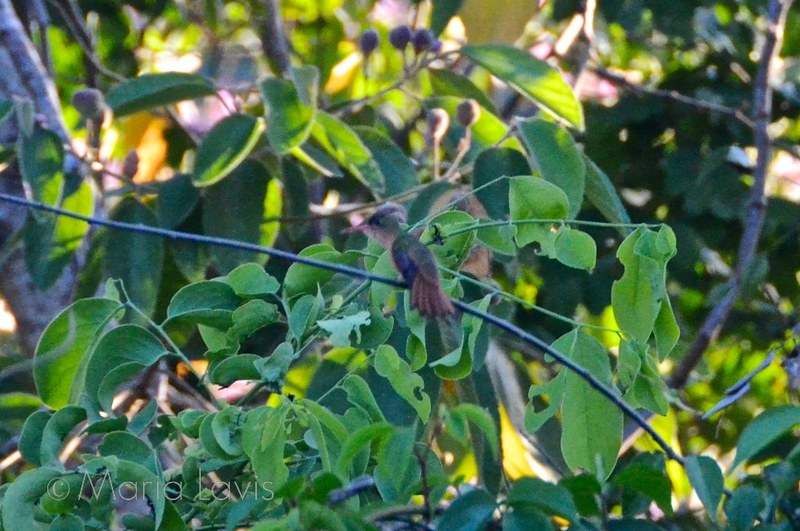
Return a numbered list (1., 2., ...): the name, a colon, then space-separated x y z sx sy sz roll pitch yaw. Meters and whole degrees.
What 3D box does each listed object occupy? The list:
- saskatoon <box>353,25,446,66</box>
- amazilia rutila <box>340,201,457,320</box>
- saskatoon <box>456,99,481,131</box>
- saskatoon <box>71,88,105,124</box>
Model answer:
1. saskatoon: 0.002 -0.379 2.700 0.155 0.062 0.065 -2 -73 11
2. amazilia rutila: 0.015 -0.028 2.511 0.246 0.088 0.116 47 -19 25
3. saskatoon: 0.116 -0.260 2.636 0.027 0.037 0.049 16 -42 32
4. saskatoon: -0.516 -0.270 2.554 0.046 0.046 0.056 -4 -30 28
